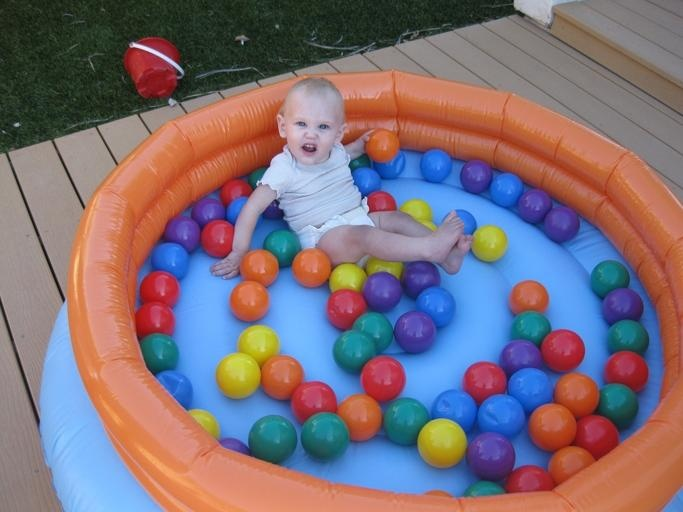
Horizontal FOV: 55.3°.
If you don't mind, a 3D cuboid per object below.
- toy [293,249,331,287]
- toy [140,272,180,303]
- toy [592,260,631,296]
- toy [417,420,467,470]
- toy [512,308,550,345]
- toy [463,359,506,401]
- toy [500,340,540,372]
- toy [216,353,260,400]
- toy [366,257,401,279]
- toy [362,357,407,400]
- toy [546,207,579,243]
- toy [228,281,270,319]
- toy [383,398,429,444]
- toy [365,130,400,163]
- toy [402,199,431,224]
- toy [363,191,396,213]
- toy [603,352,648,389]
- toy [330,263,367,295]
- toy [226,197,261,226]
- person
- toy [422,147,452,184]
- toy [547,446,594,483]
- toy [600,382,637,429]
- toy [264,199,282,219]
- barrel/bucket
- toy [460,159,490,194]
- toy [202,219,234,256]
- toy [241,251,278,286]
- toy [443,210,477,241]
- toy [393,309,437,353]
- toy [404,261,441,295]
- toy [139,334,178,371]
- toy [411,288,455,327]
[{"bbox_3d":[-0.132,0.044,2.561,0.122,0.156,0.147,-4,28,-3],"label":"toy"},{"bbox_3d":[-0.720,0.120,2.488,0.111,0.126,0.138,1,72,-31],"label":"toy"},{"bbox_3d":[1.057,0.082,2.594,0.123,0.158,0.149,11,74,12],"label":"toy"},{"bbox_3d":[0.334,0.636,2.191,0.158,0.163,0.194,0,92,24],"label":"toy"},{"bbox_3d":[0.706,0.265,2.432,0.113,0.128,0.126,-10,38,15],"label":"toy"},{"bbox_3d":[0.494,0.437,2.307,0.118,0.142,0.138,-1,39,-4],"label":"toy"},{"bbox_3d":[0.644,0.362,2.355,0.109,0.114,0.125,-19,52,24],"label":"toy"},{"bbox_3d":[-0.382,0.420,2.343,0.137,0.143,0.161,26,68,-33],"label":"toy"},{"bbox_3d":[0.160,0.070,2.628,0.086,0.109,0.100,2,66,-28],"label":"toy"},{"bbox_3d":[0.144,0.440,2.307,0.167,0.149,0.131,1,55,0],"label":"toy"},{"bbox_3d":[0.932,-0.115,2.800,0.126,0.129,0.169,22,97,30],"label":"toy"},{"bbox_3d":[-0.371,0.166,2.490,0.141,0.093,0.116,-1,57,-2],"label":"toy"},{"bbox_3d":[0.206,0.553,2.193,0.128,0.168,0.158,-1,68,-6],"label":"toy"},{"bbox_3d":[0.169,-0.500,2.915,0.122,0.139,0.176,1,74,-2],"label":"toy"},{"bbox_3d":[0.314,-0.185,2.836,0.095,0.124,0.116,-15,84,6],"label":"toy"},{"bbox_3d":[0.158,-0.239,2.814,0.105,0.108,0.099,-7,33,-27],"label":"toy"},{"bbox_3d":[1.014,0.405,2.308,0.117,0.131,0.143,-8,97,22],"label":"toy"},{"bbox_3d":[0.016,0.084,2.563,0.119,0.114,0.130,-3,84,5],"label":"toy"},{"bbox_3d":[-0.446,-0.196,2.794,0.094,0.117,0.121,-3,16,6],"label":"toy"},{"bbox_3d":[0.039,-0.304,2.637,0.970,0.832,0.891,14,22,38],"label":"person"},{"bbox_3d":[0.422,-0.410,2.959,0.123,0.168,0.141,1,28,7],"label":"toy"},{"bbox_3d":[0.733,0.665,2.092,0.109,0.131,0.121,32,91,20],"label":"toy"},{"bbox_3d":[0.959,0.513,2.254,0.123,0.076,0.122,6,57,3],"label":"toy"},{"bbox_3d":[-0.315,-0.197,2.849,0.063,0.088,0.075,0,47,-1],"label":"toy"},{"bbox_3d":[-1.066,-1.040,3.574,0.309,0.231,0.250,-16,58,-11],"label":"barrel/bucket"},{"bbox_3d":[0.598,-0.361,3.001,0.122,0.166,0.137,-16,29,2],"label":"toy"},{"bbox_3d":[-0.530,-0.094,2.730,0.120,0.167,0.131,-9,25,-20],"label":"toy"},{"bbox_3d":[-0.332,0.047,2.609,0.121,0.158,0.142,-15,59,-7],"label":"toy"},{"bbox_3d":[0.503,-0.159,2.779,0.107,0.114,0.143,-23,87,-12],"label":"toy"},{"bbox_3d":[0.271,0.281,2.459,0.130,0.146,0.149,-17,52,3],"label":"toy"},{"bbox_3d":[0.310,0.083,2.560,0.114,0.140,0.149,12,24,2],"label":"toy"},{"bbox_3d":[-0.692,0.352,2.383,0.113,0.126,0.153,6,52,-41],"label":"toy"},{"bbox_3d":[0.365,0.186,2.535,0.119,0.141,0.146,9,58,12],"label":"toy"}]
